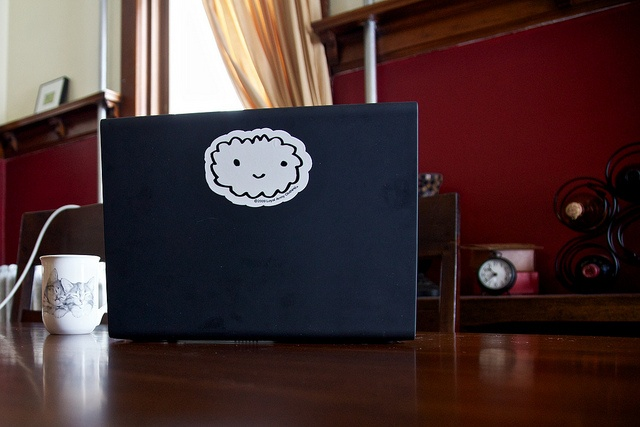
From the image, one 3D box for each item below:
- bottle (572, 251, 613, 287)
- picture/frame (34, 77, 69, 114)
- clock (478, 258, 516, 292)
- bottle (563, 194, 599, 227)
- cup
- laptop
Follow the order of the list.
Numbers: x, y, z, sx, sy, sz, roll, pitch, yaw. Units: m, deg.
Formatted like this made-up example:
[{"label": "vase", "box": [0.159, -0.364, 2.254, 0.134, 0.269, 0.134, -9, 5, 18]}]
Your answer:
[{"label": "bottle", "box": [0.972, 0.210, 2.012, 0.105, 0.111, 0.102, 19, 15, 23]}, {"label": "picture/frame", "box": [-2.008, -0.871, 4.227, 0.323, 0.298, 0.043, -7, -27, 34]}, {"label": "clock", "box": [0.657, 0.233, 2.097, 0.137, 0.130, 0.050, 4, 10, 18]}, {"label": "bottle", "box": [0.973, -0.007, 2.088, 0.078, 0.072, 0.113, -34, -10, 17]}, {"label": "cup", "box": [-0.489, 0.161, 1.110, 0.156, 0.154, 0.103, 5, -14, -32]}, {"label": "laptop", "box": [-0.083, 0.004, 0.928, 0.518, 0.396, 0.382, 0, -5, 4]}]
